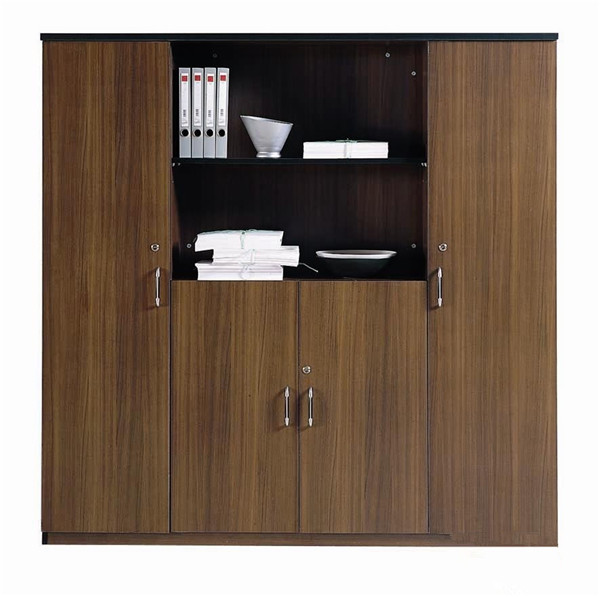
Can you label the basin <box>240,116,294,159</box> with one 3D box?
[{"bbox_3d":[-0.136,-0.700,3.767,0.187,0.171,0.172,2,3,0],"label":"basin"}]
